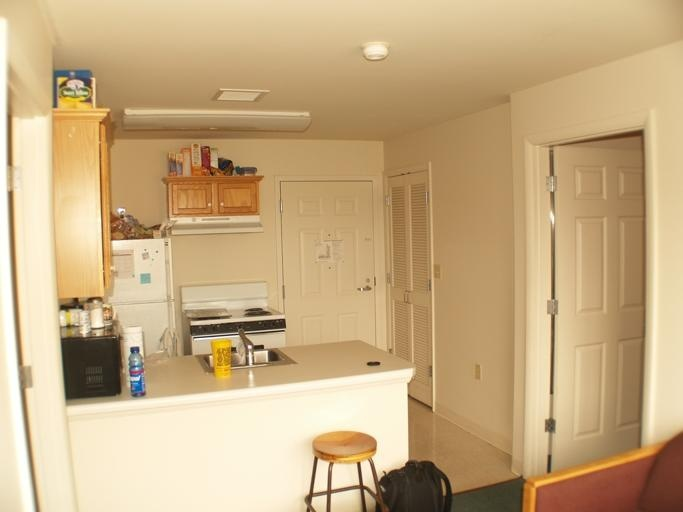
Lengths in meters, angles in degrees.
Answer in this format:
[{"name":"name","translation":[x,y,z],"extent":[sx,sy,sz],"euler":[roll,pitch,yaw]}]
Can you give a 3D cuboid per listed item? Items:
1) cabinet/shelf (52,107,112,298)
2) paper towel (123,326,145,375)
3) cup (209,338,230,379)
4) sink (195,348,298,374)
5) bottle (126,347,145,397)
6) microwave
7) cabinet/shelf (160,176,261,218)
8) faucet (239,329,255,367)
[{"name":"cabinet/shelf","translation":[-1.433,-0.289,2.962],"extent":[0.333,1.023,0.141],"euler":[-5,7,-17]},{"name":"paper towel","translation":[-1.167,0.548,3.083],"extent":[0.198,0.248,0.171],"euler":[-3,-15,-13]},{"name":"cup","translation":[-0.711,0.588,3.142],"extent":[0.094,0.215,0.102],"euler":[-2,6,0]},{"name":"sink","translation":[-0.586,0.672,3.487],"extent":[0.317,0.099,0.245],"euler":[-2,7,-25]},{"name":"bottle","translation":[-1.108,0.609,2.868],"extent":[0.078,0.259,0.133],"euler":[-5,7,-22]},{"name":"microwave","translation":[-1.324,0.538,2.915],"extent":[0.349,0.239,0.539],"euler":[-1,5,-21]},{"name":"cabinet/shelf","translation":[-1.296,-0.563,5.193],"extent":[0.960,0.409,0.320],"euler":[-7,11,-36]},{"name":"faucet","translation":[-0.605,0.558,3.406],"extent":[0.080,0.239,0.230],"euler":[-3,6,-8]}]
